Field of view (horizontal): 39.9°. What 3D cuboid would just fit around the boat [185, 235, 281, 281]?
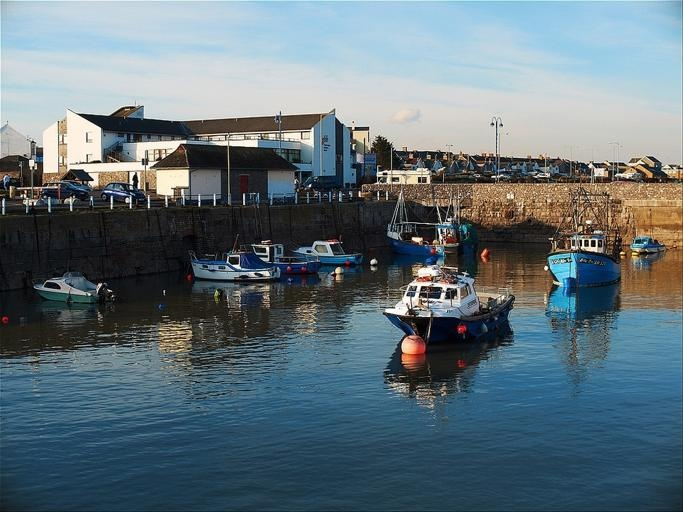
[{"bbox_3d":[-7.089,0.803,62.804,6.208,1.965,2.394,4,5,15],"label":"boat"}]

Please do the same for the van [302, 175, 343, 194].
[{"bbox_3d":[-2.184,-7.898,104.490,4.199,1.921,2.432,0,0,-42],"label":"van"}]

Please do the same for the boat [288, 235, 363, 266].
[{"bbox_3d":[-1.045,-0.298,71.492,5.276,1.925,2.043,0,6,9],"label":"boat"}]

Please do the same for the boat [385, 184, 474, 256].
[{"bbox_3d":[7.237,-2.095,83.256,11.195,6.272,4.053,2,3,44],"label":"boat"}]

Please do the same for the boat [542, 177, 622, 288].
[{"bbox_3d":[19.290,-2.771,74.836,5.294,6.407,35.108,3,8,16],"label":"boat"}]

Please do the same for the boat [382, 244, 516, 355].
[{"bbox_3d":[4.901,2.237,46.360,4.887,3.731,9.661,5,7,27],"label":"boat"}]

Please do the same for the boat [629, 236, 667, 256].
[{"bbox_3d":[25.602,-0.788,79.617,2.245,1.285,3.424,5,9,33],"label":"boat"}]

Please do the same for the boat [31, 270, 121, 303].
[{"bbox_3d":[-14.791,1.909,52.802,3.336,1.214,2.024,3,5,21],"label":"boat"}]
